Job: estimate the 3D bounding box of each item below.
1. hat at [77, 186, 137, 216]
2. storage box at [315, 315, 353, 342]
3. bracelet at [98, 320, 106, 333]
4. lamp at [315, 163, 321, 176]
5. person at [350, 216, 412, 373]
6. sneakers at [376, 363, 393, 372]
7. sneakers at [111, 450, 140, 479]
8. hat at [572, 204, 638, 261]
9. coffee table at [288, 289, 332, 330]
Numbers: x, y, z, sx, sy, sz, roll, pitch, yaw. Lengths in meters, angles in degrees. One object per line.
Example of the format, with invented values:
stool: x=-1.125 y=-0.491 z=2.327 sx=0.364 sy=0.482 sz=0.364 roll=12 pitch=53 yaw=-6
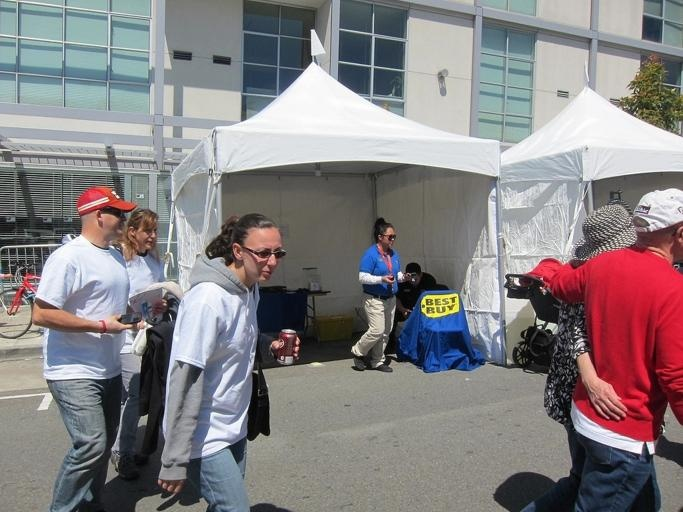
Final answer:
hat: x=-1.766 y=-0.417 z=4.265 sx=0.374 sy=0.223 sz=0.248 roll=1 pitch=8 yaw=-23
storage box: x=-0.139 y=1.332 z=10.338 sx=0.569 sy=0.408 sz=0.394 roll=1 pitch=-2 yaw=-24
bracelet: x=-1.685 y=0.502 z=4.004 sx=0.057 sy=0.079 sz=0.039 roll=-18 pitch=3 yaw=-1
lamp: x=-0.423 y=-1.563 z=10.307 sx=0.111 sy=0.213 sz=0.361 roll=0 pitch=6 yaw=-2
person: x=0.571 y=0.612 z=8.298 sx=0.770 sy=2.147 sz=0.700 roll=3 pitch=6 yaw=34
sneakers: x=0.619 y=1.644 z=8.236 sx=0.096 sy=0.109 sz=0.240 roll=0 pitch=-3 yaw=-40
sneakers: x=-1.958 y=1.871 z=5.095 sx=0.141 sy=0.172 sz=0.351 roll=2 pitch=0 yaw=-41
hat: x=1.817 y=-0.102 z=3.870 sx=0.392 sy=0.215 sz=0.333 roll=-31 pitch=25 yaw=20
coffee table: x=-0.567 y=0.926 z=10.224 sx=0.658 sy=0.737 sz=0.705 roll=0 pitch=4 yaw=-14
